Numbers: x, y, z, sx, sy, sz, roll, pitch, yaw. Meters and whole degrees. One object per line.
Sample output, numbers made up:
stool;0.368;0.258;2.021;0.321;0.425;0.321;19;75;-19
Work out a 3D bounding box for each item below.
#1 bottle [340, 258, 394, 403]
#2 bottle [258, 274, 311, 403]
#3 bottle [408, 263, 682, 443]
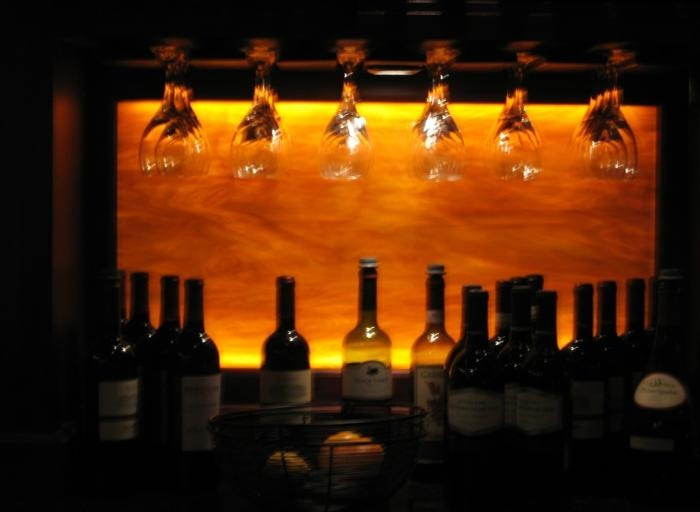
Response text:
bottle;0.038;0.150;2.243;0.110;0.297;0.200;1;-4;0
bottle;-0.126;0.172;2.171;0.096;0.255;0.080;1;-4;-5
bottle;0.392;0.209;2.150;0.434;0.329;0.081;0;1;-2
